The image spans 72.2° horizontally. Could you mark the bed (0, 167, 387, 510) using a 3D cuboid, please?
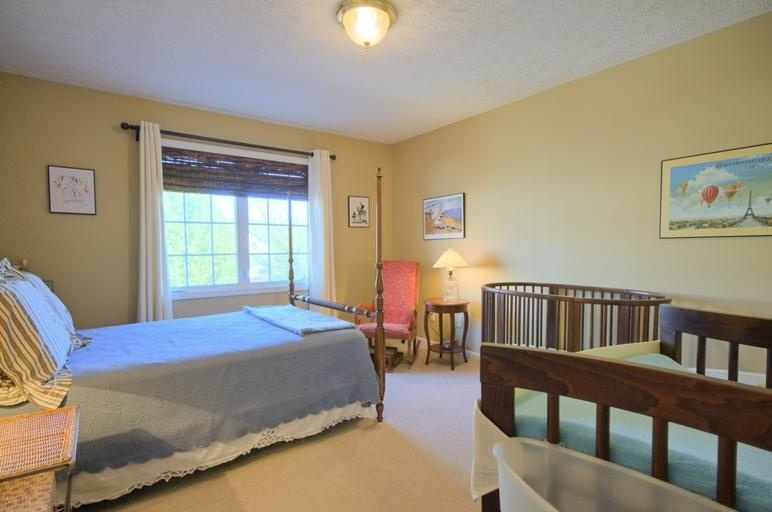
[{"bbox_3d":[-1.457,0.905,4.408,1.941,1.337,1.276,-8,14,-40],"label":"bed"}]

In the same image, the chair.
[{"bbox_3d":[0.017,0.672,6.320,0.790,1.105,0.934,1,-2,-3],"label":"chair"}]

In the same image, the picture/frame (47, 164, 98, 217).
[{"bbox_3d":[-3.113,-0.641,5.185,0.547,0.663,0.033,-3,7,-32],"label":"picture/frame"}]

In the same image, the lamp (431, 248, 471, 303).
[{"bbox_3d":[0.784,0.228,6.285,0.371,0.597,0.647,-1,4,7],"label":"lamp"}]

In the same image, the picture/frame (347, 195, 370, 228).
[{"bbox_3d":[-0.377,-0.576,6.920,0.474,0.515,0.056,-2,4,-39],"label":"picture/frame"}]

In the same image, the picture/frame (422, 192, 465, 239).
[{"bbox_3d":[0.735,-0.498,6.538,0.043,0.514,0.651,-4,2,-38],"label":"picture/frame"}]
